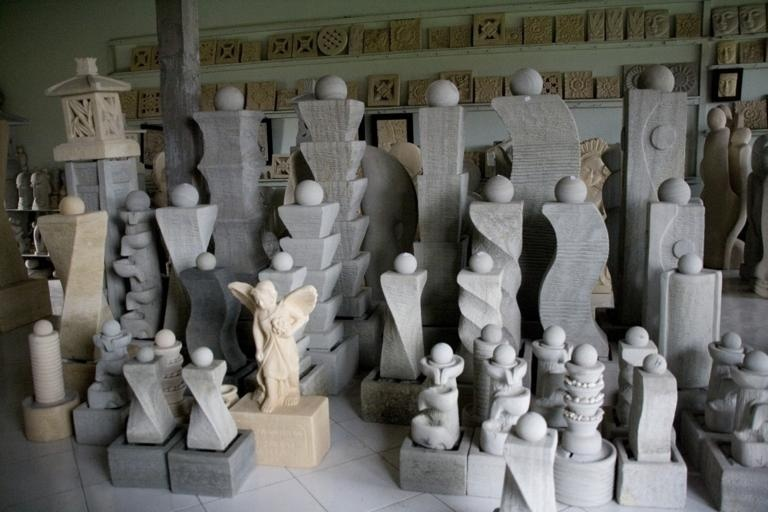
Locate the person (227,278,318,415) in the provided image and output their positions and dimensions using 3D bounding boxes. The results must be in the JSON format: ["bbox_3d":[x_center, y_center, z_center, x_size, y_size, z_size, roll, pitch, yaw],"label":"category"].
[{"bbox_3d":[-0.761,0.685,5.601,0.508,0.995,0.206,-4,8,-11],"label":"person"}]

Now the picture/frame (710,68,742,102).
[{"bbox_3d":[4.489,-2.242,9.542,0.454,0.513,0.072,0,8,5],"label":"picture/frame"}]

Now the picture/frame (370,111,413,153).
[{"bbox_3d":[0.130,-1.807,10.424,0.798,0.746,0.186,2,7,14],"label":"picture/frame"}]
